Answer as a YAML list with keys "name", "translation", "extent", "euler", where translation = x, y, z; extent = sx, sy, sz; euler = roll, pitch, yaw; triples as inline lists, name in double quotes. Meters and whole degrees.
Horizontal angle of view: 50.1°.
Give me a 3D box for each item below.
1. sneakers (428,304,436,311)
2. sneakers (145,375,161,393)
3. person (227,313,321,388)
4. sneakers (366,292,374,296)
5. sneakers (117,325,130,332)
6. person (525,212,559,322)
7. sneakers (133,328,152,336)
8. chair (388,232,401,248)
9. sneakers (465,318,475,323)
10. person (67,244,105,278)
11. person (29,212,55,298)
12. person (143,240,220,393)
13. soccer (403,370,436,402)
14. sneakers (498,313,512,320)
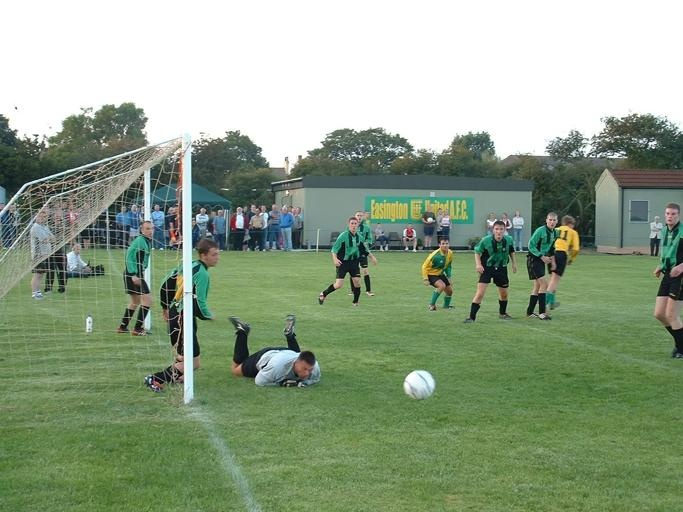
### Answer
- name: "sneakers"
  translation: [1.821, 1.036, 14.623]
  extent: [0.085, 0.100, 0.152]
  euler: [0, -13, 8]
- name: "sneakers"
  translation: [-2.354, 1.561, 8.913]
  extent: [0.314, 0.142, 0.108]
  euler: [20, 28, 33]
- name: "person"
  translation: [-0.756, 1.264, 9.425]
  extent: [0.996, 0.728, 1.612]
  euler: [1, 7, -32]
- name: "sneakers"
  translation: [0.668, 0.874, 16.908]
  extent: [0.077, 0.084, 0.218]
  euler: [-1, -3, -15]
- name: "sneakers"
  translation: [-3.597, 1.194, 12.017]
  extent: [0.091, 0.078, 0.187]
  euler: [3, 3, 23]
- name: "person"
  translation: [3.805, 0.169, 13.931]
  extent: [0.514, 2.035, 1.051]
  euler: [4, 11, 15]
- name: "sneakers"
  translation: [-3.266, 1.240, 11.959]
  extent: [0.309, 0.125, 0.109]
  euler: [-1, 2, -9]
- name: "chair"
  translation: [2.455, -0.748, 34.440]
  extent: [0.699, 0.942, 0.703]
  euler: [1, -1, -1]
- name: "sneakers"
  translation: [2.283, 1.135, 13.132]
  extent: [0.176, 0.076, 0.236]
  euler: [0, 10, -3]
- name: "person"
  translation: [-5.917, 0.105, 16.657]
  extent: [0.898, 0.696, 0.634]
  euler: [5, 11, 7]
- name: "person"
  translation: [-4.809, -0.012, 11.774]
  extent: [0.437, 1.396, 0.451]
  euler: [-2, -6, -31]
- name: "person"
  translation: [-2.024, 0.661, 9.193]
  extent: [0.892, 1.847, 1.404]
  euler: [-2, 11, -15]
- name: "soccer"
  translation: [0.930, 1.538, 8.643]
  extent: [0.328, 0.348, 0.394]
  euler: [-31, -27, 10]
- name: "sneakers"
  translation: [3.048, 1.127, 13.659]
  extent: [0.182, 0.070, 0.095]
  euler: [1, 2, 23]
